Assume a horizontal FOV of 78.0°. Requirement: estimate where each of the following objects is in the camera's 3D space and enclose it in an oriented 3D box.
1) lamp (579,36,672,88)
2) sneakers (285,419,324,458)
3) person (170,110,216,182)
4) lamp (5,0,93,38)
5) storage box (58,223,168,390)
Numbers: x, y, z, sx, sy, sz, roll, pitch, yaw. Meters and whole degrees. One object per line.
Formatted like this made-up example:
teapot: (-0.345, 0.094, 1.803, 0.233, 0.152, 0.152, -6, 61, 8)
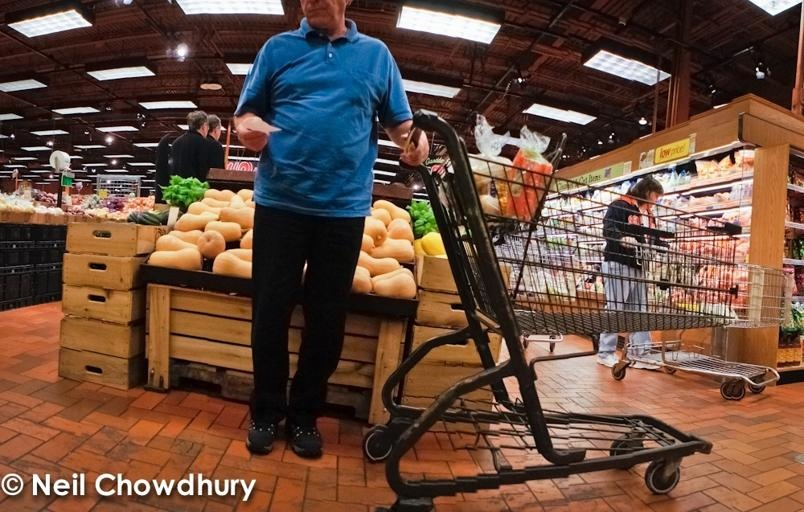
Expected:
lamp: (3.784, -3.284, 8.417, 1.696, 0.301, 0.660, 3, 9, -25)
sneakers: (-0.687, 1.309, 3.533, 0.169, 0.126, 0.393, 6, -5, -23)
person: (-2.257, -1.215, 5.418, 0.406, 0.763, 0.566, 7, 10, -24)
lamp: (-5.997, -4.107, 8.510, 1.488, 0.466, 0.580, 9, 9, 18)
storage box: (-2.388, 0.368, 4.046, 0.912, 1.297, 0.406, 13, 10, 17)
